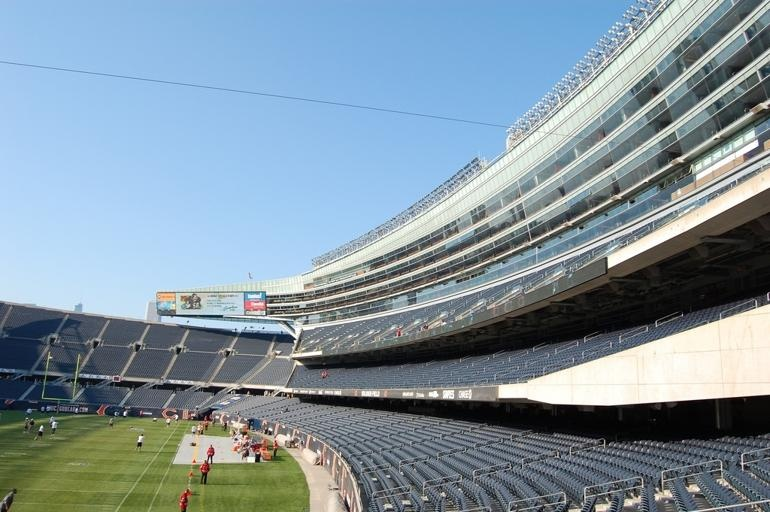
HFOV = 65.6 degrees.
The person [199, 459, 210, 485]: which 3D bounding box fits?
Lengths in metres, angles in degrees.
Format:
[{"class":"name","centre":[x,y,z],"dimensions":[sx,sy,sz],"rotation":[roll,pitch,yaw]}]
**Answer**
[{"class":"person","centre":[-9.284,11.183,30.891],"dimensions":[0.424,1.067,1.979],"rotation":[9,-11,-14]}]
